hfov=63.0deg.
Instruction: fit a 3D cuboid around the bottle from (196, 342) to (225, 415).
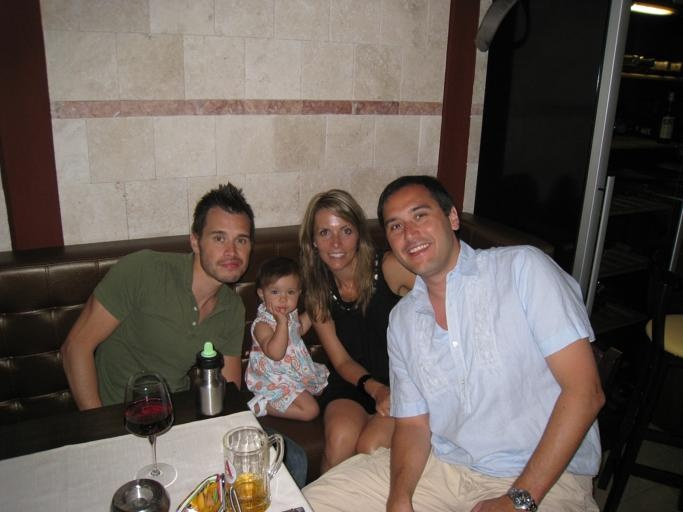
[{"bbox_3d":[-0.528,0.490,2.255,0.111,0.264,0.149,-5,13,-14],"label":"bottle"}]
